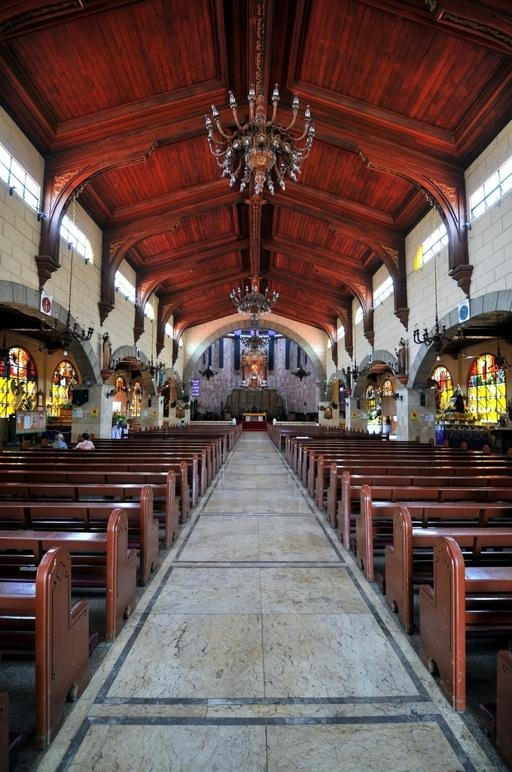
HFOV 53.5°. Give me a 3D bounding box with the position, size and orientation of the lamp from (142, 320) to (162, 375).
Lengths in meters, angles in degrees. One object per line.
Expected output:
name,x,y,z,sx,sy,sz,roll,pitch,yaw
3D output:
lamp,-3.800,-1.451,18.689,0.439,2.136,2.116,2,-2,-8

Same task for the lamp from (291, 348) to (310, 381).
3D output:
lamp,3.061,-1.584,34.313,1.121,2.373,3.429,1,-2,3

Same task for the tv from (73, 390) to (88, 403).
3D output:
tv,-4.337,0.235,12.628,0.255,0.281,0.150,3,6,-1

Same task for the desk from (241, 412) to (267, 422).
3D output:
desk,-0.211,2.056,34.799,1.364,0.594,2.254,1,-2,25

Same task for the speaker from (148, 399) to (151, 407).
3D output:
speaker,-3.962,0.592,19.202,0.120,0.315,0.038,1,-2,5

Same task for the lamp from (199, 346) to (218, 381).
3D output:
lamp,-3.072,-1.610,33.783,1.147,2.472,3.276,2,-2,-4

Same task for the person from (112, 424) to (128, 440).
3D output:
person,-4.425,1.503,16.833,0.619,0.286,0.860,-1,-3,-6

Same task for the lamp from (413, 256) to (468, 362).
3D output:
lamp,3.925,-1.771,11.396,0.734,1.943,2.051,1,-2,18

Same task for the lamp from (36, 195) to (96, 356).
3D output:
lamp,-3.795,-2.378,10.395,0.895,3.284,2.671,2,-2,-16

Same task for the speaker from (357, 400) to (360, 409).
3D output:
speaker,4.063,0.711,20.136,0.121,0.330,0.103,1,-2,12
